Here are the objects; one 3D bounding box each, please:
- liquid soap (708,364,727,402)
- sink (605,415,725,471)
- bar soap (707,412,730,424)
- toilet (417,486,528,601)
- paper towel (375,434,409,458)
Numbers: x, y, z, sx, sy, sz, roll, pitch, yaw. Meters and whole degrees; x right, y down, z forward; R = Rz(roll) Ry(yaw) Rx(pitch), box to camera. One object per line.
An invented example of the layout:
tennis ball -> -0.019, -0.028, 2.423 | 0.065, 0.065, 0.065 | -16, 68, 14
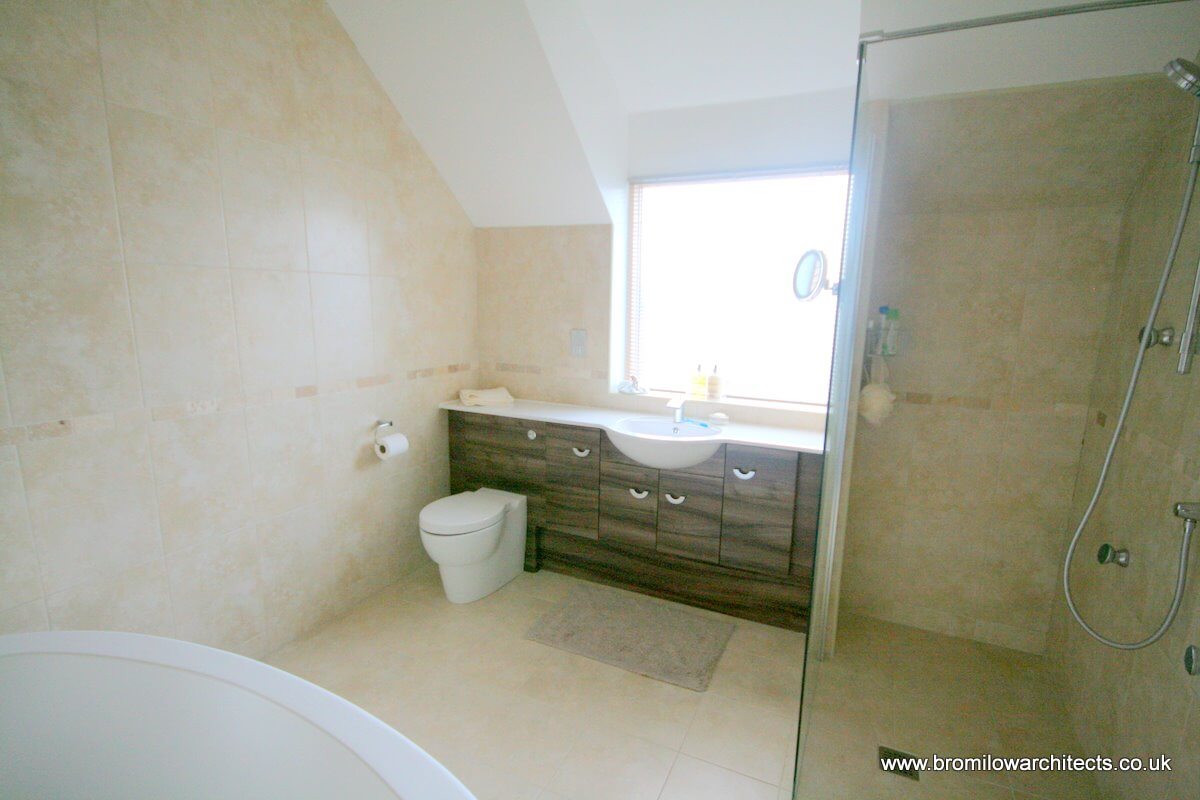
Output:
liquid soap -> 0.623, -0.101, 4.531 | 0.078, 0.170, 0.123 | 5, 13, 9
sink -> 0.335, 0.229, 4.280 | 0.643, 0.222, 0.478 | 7, 12, 21
bar soap -> 0.632, 0.097, 4.392 | 0.068, 0.039, 0.065 | -1, 16, -11
toilet -> -0.691, 0.772, 4.452 | 0.432, 0.452, 0.618 | 10, 15, 30
paper towel -> -1.064, 0.224, 4.306 | 0.120, 0.125, 0.151 | 19, 13, 25
